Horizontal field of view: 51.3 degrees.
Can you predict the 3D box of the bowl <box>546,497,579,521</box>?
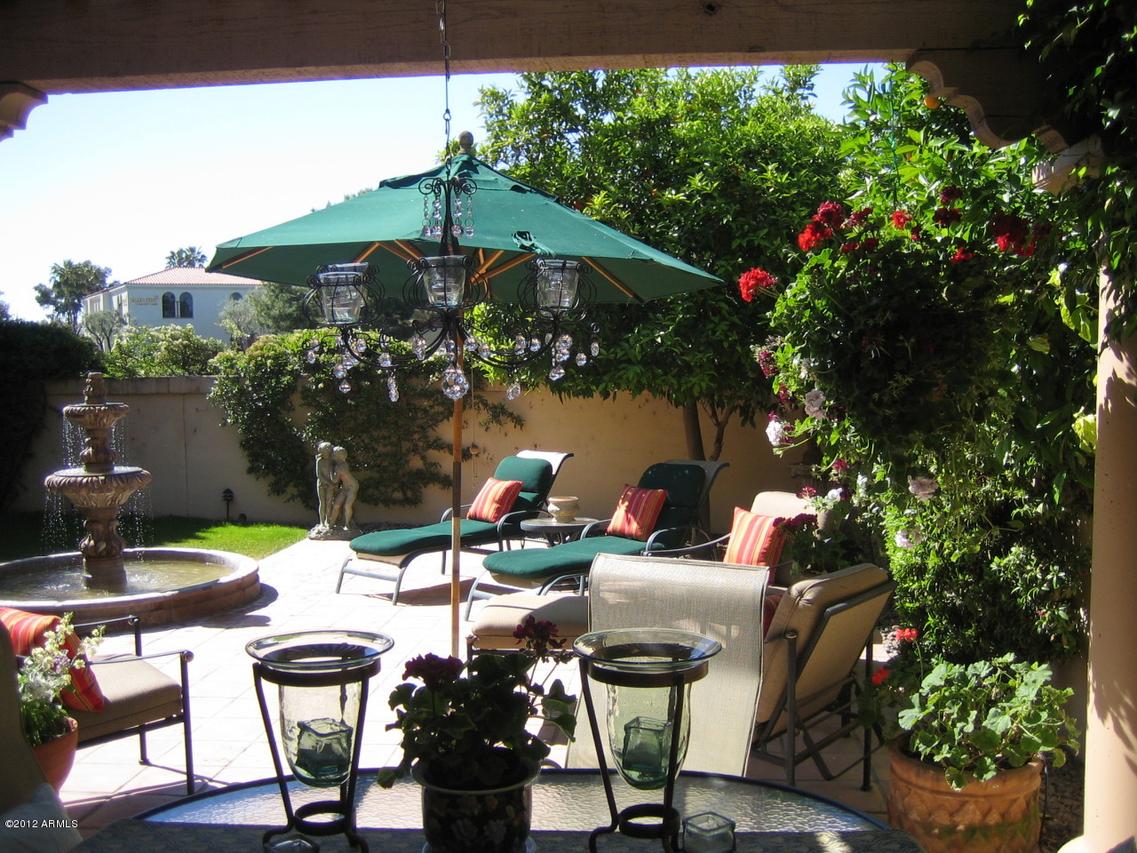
[{"bbox_3d":[-0.066,0.613,8.897,0.168,0.129,0.177,-1,2,0],"label":"bowl"}]
